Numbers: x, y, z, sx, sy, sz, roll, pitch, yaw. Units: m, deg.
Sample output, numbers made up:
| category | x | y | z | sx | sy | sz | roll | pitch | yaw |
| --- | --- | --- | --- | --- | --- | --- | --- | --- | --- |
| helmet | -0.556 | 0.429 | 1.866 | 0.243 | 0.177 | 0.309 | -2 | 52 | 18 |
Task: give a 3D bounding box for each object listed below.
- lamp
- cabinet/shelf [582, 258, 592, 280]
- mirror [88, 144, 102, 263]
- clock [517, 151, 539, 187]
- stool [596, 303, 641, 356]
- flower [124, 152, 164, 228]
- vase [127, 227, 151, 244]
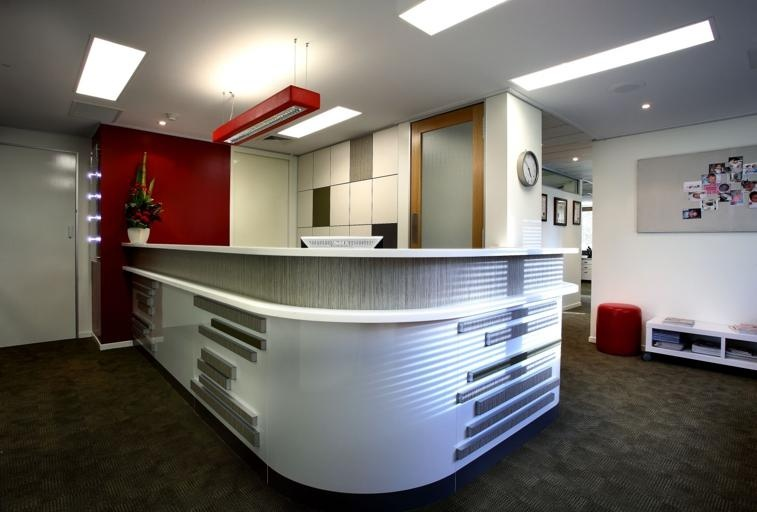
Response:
| category | x | y | z | sx | sy | sz | roll | pitch | yaw |
| --- | --- | --- | --- | --- | --- | --- | --- | --- | --- |
| lamp | -1.430 | -1.834 | 5.614 | 1.756 | 0.663 | 0.459 | -7 | -3 | 44 |
| cabinet/shelf | 5.651 | 0.363 | 12.934 | 0.168 | 0.612 | 0.450 | 0 | 3 | 17 |
| mirror | -4.378 | -0.821 | 7.293 | 0.166 | 1.789 | 0.687 | -2 | 4 | -33 |
| clock | 1.930 | -1.134 | 6.164 | 0.086 | 0.459 | 0.420 | -5 | -11 | 41 |
| stool | 3.451 | 1.054 | 7.075 | 0.634 | 0.766 | 0.658 | 1 | 0 | 15 |
| flower | -3.518 | -1.001 | 7.151 | 0.542 | 1.174 | 0.509 | -3 | 4 | -35 |
| vase | -3.557 | -0.301 | 7.001 | 0.294 | 0.232 | 0.280 | -3 | 2 | -39 |
